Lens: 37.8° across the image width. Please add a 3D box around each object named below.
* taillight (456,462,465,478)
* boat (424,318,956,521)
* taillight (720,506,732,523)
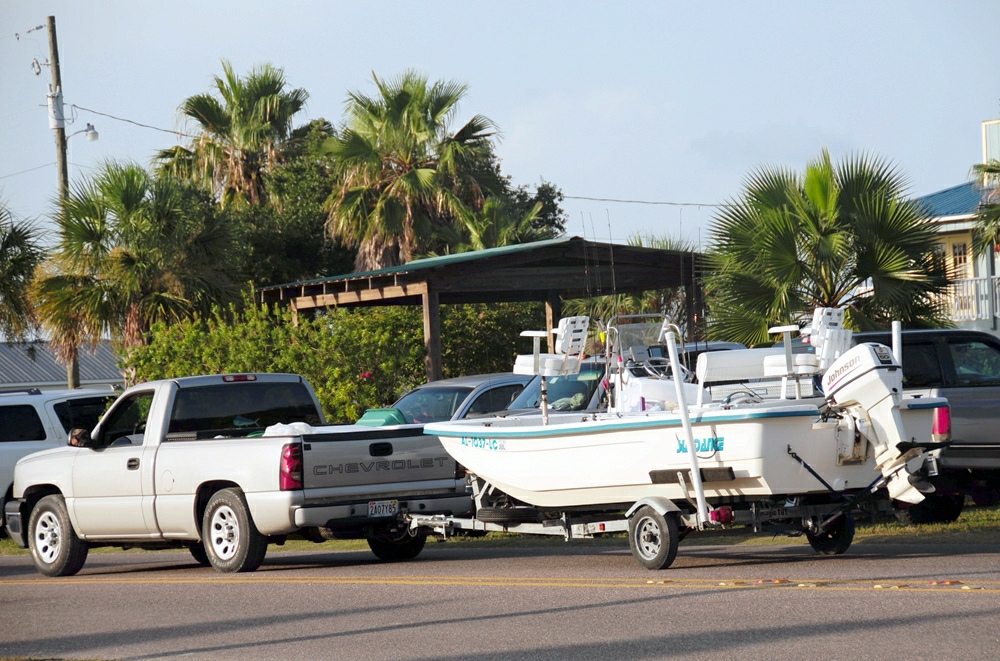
[{"bbox_3d":[-0.591,2.067,21.474,0.157,0.239,0.056,21,-21,-35],"label":"taillight"},{"bbox_3d":[2.447,1.474,20.060,5.788,2.325,2.924,-1,-3,35],"label":"boat"},{"bbox_3d":[2.979,2.411,19.231,0.136,0.219,0.129,-2,3,5],"label":"taillight"}]
